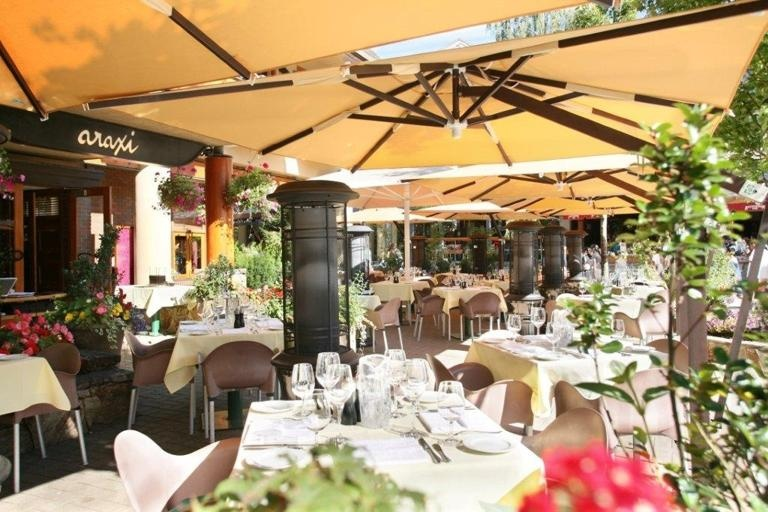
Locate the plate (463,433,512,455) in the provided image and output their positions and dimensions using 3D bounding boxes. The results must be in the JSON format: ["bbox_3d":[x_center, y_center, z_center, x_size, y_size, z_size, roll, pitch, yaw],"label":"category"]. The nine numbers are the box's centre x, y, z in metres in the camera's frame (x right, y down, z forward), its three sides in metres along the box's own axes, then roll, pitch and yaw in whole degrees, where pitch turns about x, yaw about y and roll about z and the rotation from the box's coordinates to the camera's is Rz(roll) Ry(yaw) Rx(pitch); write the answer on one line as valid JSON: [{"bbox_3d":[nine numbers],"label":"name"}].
[{"bbox_3d":[0.550,0.996,2.891,0.275,0.055,0.264,-2,0,6],"label":"plate"}]

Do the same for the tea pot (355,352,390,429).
[{"bbox_3d":[-0.063,0.793,3.179,0.194,0.314,0.315,-3,1,-2],"label":"tea pot"}]
